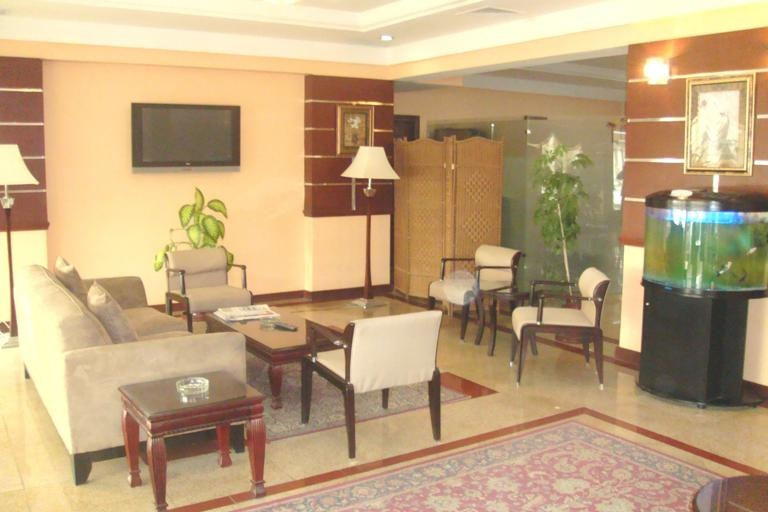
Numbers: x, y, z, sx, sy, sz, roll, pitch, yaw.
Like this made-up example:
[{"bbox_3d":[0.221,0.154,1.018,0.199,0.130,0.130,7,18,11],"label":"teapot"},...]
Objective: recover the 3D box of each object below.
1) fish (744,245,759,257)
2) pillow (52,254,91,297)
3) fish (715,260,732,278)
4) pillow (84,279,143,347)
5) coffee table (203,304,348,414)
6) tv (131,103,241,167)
[{"bbox_3d":[3.210,-0.049,5.376,0.112,0.080,0.007,-7,12,-13],"label":"fish"},{"bbox_3d":[-3.151,0.190,6.187,0.150,0.340,0.389,-39,29,-23],"label":"pillow"},{"bbox_3d":[2.971,0.102,5.382,0.191,0.093,0.035,-43,-13,10],"label":"fish"},{"bbox_3d":[-2.312,0.485,5.237,0.220,0.338,0.401,-21,42,-37],"label":"pillow"},{"bbox_3d":[-0.911,0.788,5.844,0.778,0.514,1.628,-6,12,-35],"label":"coffee table"},{"bbox_3d":[-2.704,-1.633,8.219,1.008,0.575,0.069,-4,14,-25],"label":"tv"}]
